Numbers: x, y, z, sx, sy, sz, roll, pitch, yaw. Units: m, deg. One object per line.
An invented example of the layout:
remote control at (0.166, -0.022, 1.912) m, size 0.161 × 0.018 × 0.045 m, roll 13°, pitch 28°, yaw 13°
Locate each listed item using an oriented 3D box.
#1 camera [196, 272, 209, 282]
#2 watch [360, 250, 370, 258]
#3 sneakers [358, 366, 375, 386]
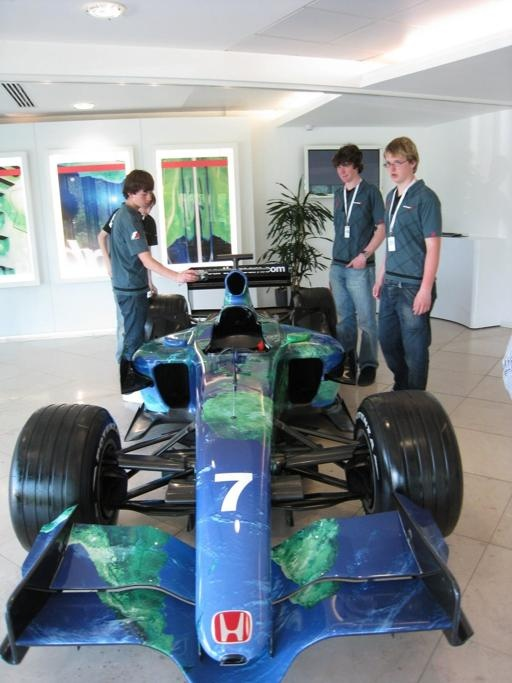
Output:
camera at (-0.341, -0.418, 3.394) m, size 0.075 × 0.072 × 0.021 m, roll -5°, pitch -20°, yaw 45°
watch at (0.731, -0.585, 3.549) m, size 0.043 × 0.021 × 0.058 m, roll 2°, pitch 29°, yaw 8°
sneakers at (0.806, 0.244, 3.838) m, size 0.108 × 0.144 × 0.043 m, roll 5°, pitch -3°, yaw -13°
